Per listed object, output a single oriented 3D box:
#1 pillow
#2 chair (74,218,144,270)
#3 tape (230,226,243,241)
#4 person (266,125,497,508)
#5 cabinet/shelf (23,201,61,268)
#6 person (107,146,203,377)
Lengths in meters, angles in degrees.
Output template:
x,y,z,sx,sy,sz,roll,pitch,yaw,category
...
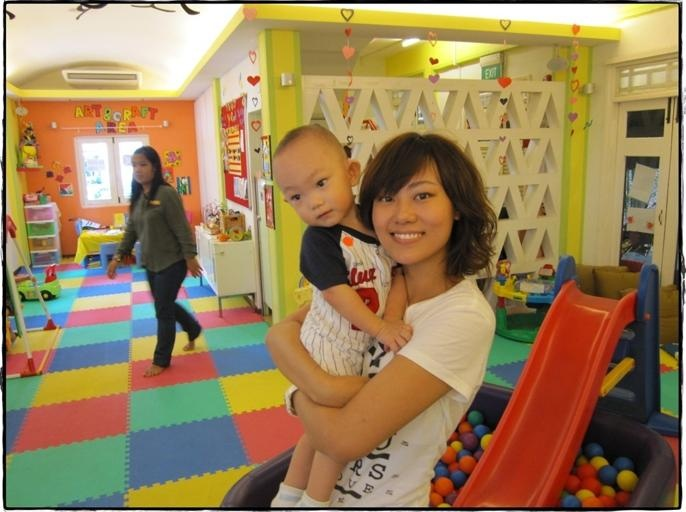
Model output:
x,y,z,sx,sy,sz,roll,pitch,yaw,category
1.927,0.326,3.358,0.624,0.688,0.235,6,-15,6,pillow
-4.209,-0.258,8.772,0.992,0.537,1.015,-3,2,-10,chair
-1.276,-0.295,6.041,0.160,0.068,0.170,25,51,3,tape
0.172,0.220,1.650,0.719,1.242,0.446,-1,10,6,person
-5.387,-0.397,8.973,0.502,1.113,0.349,-10,12,-39,cabinet/shelf
-1.624,0.044,4.460,0.759,2.015,0.590,7,13,44,person
